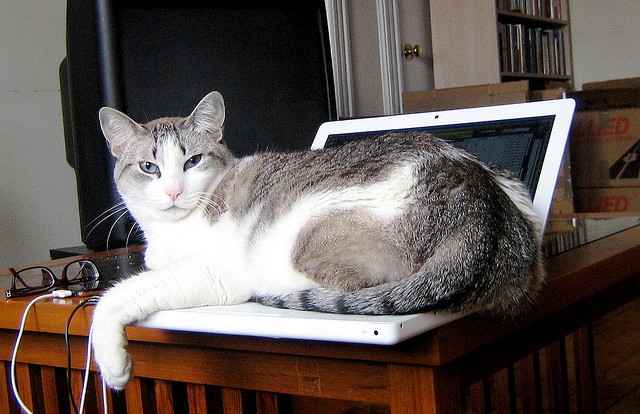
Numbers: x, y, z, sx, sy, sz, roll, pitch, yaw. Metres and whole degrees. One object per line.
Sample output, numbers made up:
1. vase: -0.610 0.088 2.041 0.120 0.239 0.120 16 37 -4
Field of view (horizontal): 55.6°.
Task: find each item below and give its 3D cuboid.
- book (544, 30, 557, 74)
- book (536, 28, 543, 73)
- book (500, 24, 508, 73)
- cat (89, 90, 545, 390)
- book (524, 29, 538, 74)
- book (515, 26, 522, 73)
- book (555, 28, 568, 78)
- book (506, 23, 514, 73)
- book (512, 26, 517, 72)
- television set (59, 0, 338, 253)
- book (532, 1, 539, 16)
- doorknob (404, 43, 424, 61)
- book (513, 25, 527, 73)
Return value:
1. book: 1.604 -1.076 4.242 0.044 0.356 0.264 -5 8 18
2. book: 1.500 -1.057 4.159 0.042 0.343 0.252 -3 11 19
3. book: 1.172 -1.007 3.855 0.053 0.280 0.054 -6 13 -13
4. cat: -0.004 0.013 1.285 0.698 0.424 0.557 -6 12 20
5. book: 1.405 -1.041 4.063 0.046 0.366 0.269 0 10 32
6. book: 1.281 -1.033 3.938 0.036 0.344 0.254 -4 7 19
7. book: 1.727 -1.105 4.341 0.086 0.338 0.096 9 17 42
8. book: 1.210 -1.006 3.860 0.046 0.292 0.074 1 13 17
9. book: 1.256 -1.020 3.918 0.033 0.284 0.098 1 13 17
10. television set: -0.301 -0.202 1.468 0.562 0.495 0.306 -11 15 -33
11. book: 1.466 -1.353 4.135 0.023 0.091 0.077 7 16 37
12. doorknob: 0.632 -1.047 4.115 0.101 0.108 0.132 2 14 21
13. book: 1.293 -1.026 3.949 0.049 0.426 0.301 -3 4 15
